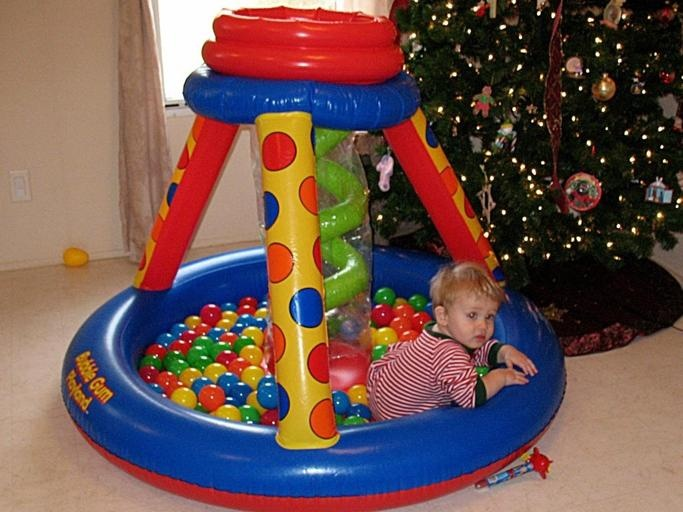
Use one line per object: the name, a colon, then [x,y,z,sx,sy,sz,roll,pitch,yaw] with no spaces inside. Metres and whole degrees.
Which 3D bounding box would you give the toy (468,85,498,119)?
toy: [0.741,-0.801,3.159,0.106,0.177,0.039,14,-10,17]

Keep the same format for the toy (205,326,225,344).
toy: [-0.658,0.417,3.213,0.062,0.069,0.073,1,7,15]

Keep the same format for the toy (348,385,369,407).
toy: [0.078,0.632,2.775,0.070,0.078,0.092,-7,45,24]

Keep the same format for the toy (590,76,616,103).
toy: [1.303,-0.827,3.051,0.068,0.132,0.099,-13,9,-42]

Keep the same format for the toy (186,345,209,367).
toy: [-0.697,0.497,3.049,0.085,0.100,0.111,-1,-28,25]

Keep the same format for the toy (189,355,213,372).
toy: [-0.688,0.520,2.990,0.071,0.062,0.075,0,3,-24]

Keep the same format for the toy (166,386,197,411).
toy: [-0.702,0.638,2.743,0.110,0.083,0.137,-7,15,-25]

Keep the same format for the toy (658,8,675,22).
toy: [1.651,-1.225,3.089,0.079,0.077,0.039,6,14,26]

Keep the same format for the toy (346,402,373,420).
toy: [0.088,0.681,2.680,0.067,0.091,0.072,1,16,33]

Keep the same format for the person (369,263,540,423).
person: [0.417,0.351,2.675,0.688,0.698,0.550,-7,21,-9]

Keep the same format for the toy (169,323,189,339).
toy: [-0.859,0.393,3.239,0.064,0.085,0.073,-2,57,-20]

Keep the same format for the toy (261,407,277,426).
toy: [-0.307,0.685,2.621,0.053,0.072,0.057,-1,18,-1]

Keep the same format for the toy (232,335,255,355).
toy: [-0.498,0.442,3.089,0.076,0.085,0.103,-3,60,-6]

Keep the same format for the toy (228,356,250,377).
toy: [-0.493,0.528,2.933,0.072,0.085,0.077,3,14,4]

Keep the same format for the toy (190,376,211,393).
toy: [-0.646,0.588,2.798,0.065,0.083,0.075,-2,57,-10]

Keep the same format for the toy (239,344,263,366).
toy: [-0.438,0.486,3.001,0.083,0.095,0.104,-8,-26,-14]

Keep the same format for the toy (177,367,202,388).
toy: [-0.714,0.569,2.877,0.072,0.086,0.093,4,-8,-8]

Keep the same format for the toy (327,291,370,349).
toy: [0.061,0.305,2.970,0.177,0.258,0.254,-7,-11,9]

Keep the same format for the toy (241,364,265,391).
toy: [-0.408,0.558,2.856,0.085,0.117,0.099,-5,36,-1]

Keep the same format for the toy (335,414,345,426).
toy: [-0.004,0.697,2.620,0.044,0.029,0.049,1,22,11]

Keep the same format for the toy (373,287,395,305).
toy: [0.254,0.234,3.525,0.092,0.122,0.100,-5,37,1]

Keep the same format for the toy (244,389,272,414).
toy: [-0.367,0.655,2.731,0.087,0.124,0.096,-1,12,2]

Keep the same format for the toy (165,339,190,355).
toy: [-0.828,0.443,3.085,0.068,0.097,0.075,4,8,10]

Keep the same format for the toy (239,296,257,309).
toy: [-0.534,0.266,3.558,0.062,0.040,0.067,1,5,14]

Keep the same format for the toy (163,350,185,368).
toy: [-0.821,0.500,2.991,0.076,0.091,0.096,6,-17,4]

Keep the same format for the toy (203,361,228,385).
toy: [-0.600,0.551,2.902,0.079,0.089,0.093,-23,15,-25]

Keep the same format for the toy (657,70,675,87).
toy: [1.658,-0.914,3.126,0.067,0.086,0.069,17,43,38]

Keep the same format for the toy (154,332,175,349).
toy: [-0.910,0.436,3.164,0.070,0.087,0.070,40,47,21]

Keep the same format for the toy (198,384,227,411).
toy: [-0.578,0.633,2.726,0.122,0.104,0.081,7,15,28]

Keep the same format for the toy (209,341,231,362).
toy: [-0.607,0.465,3.057,0.076,0.089,0.096,-8,-24,-17]

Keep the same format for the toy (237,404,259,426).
toy: [-0.397,0.686,2.642,0.072,0.065,0.079,15,22,2]

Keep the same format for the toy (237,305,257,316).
toy: [-0.541,0.300,3.482,0.066,0.077,0.073,0,6,4]

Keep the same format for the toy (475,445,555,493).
toy: [0.696,0.864,2.452,0.268,0.150,0.160,-25,61,-19]

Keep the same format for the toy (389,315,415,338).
toy: [0.324,0.371,3.241,0.092,0.105,0.115,-1,2,-4]

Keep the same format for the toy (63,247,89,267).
toy: [-1.892,-0.004,4.390,0.145,0.128,0.119,2,19,-3]

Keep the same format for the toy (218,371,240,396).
toy: [-0.515,0.584,2.830,0.079,0.111,0.090,0,13,-2]

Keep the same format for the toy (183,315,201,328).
toy: [-0.812,0.357,3.316,0.058,0.075,0.066,0,52,-7]

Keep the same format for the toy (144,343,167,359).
toy: [-0.929,0.477,3.075,0.071,0.090,0.078,20,53,9]

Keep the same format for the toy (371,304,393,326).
toy: [0.238,0.330,3.349,0.094,0.104,0.129,-9,54,21]

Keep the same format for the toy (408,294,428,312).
toy: [0.439,0.261,3.441,0.084,0.108,0.094,-19,54,-13]

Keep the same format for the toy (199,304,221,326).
toy: [-0.714,0.323,3.351,0.097,0.107,0.108,5,50,-13]

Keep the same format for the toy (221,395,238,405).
toy: [-0.501,0.650,2.749,0.039,0.022,0.042,2,15,-10]
